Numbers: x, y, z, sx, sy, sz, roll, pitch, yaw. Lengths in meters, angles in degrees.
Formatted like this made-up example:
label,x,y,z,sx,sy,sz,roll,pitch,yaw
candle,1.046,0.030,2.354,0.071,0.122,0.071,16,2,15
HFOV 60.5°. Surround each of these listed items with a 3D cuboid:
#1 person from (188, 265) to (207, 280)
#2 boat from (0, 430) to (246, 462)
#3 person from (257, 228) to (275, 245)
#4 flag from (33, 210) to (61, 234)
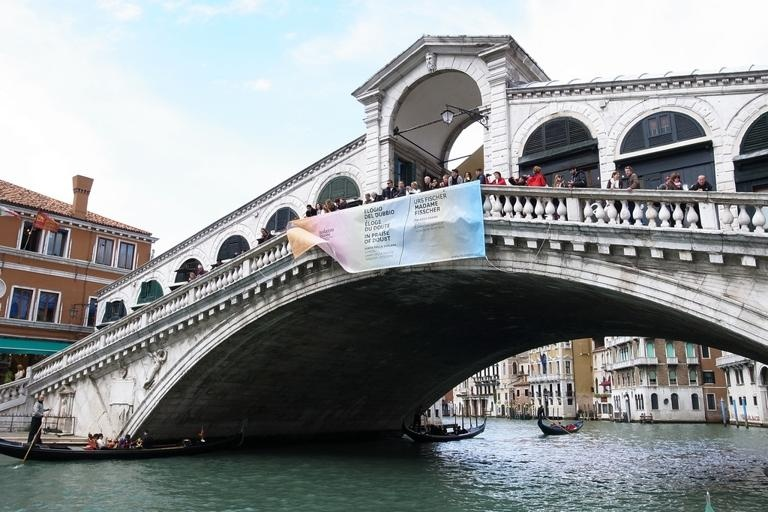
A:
label,x,y,z,sx,sy,sz,roll,pitch,yaw
person,-11.608,1.063,40.971,0.880,0.619,0.359,-23,-65,3
boat,-14.084,10.506,35.901,11.940,1.489,2.367,7,-9,-38
person,-6.584,-1.055,36.675,1.050,0.643,0.500,-18,-24,16
flag,-25.328,-2.526,49.327,1.810,1.599,0.199,8,-11,-3
